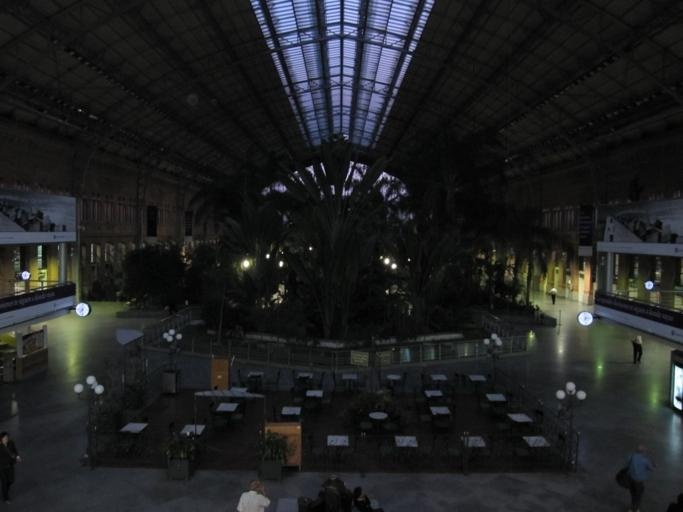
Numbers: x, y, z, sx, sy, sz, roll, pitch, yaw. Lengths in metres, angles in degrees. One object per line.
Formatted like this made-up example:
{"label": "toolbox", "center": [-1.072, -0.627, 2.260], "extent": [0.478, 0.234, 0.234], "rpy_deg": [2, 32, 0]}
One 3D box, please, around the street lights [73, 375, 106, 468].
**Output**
{"label": "street lights", "center": [-9.767, 5.802, 19.371], "extent": [0.864, 2.531, 0.866], "rpy_deg": [-8, 32, -32]}

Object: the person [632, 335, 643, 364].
{"label": "person", "center": [18.095, 5.544, 30.441], "extent": [0.466, 1.855, 1.358], "rpy_deg": [4, 7, 31]}

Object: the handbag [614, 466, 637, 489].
{"label": "handbag", "center": [8.280, 6.453, 14.626], "extent": [0.646, 0.698, 0.492], "rpy_deg": [-2, -5, 27]}
